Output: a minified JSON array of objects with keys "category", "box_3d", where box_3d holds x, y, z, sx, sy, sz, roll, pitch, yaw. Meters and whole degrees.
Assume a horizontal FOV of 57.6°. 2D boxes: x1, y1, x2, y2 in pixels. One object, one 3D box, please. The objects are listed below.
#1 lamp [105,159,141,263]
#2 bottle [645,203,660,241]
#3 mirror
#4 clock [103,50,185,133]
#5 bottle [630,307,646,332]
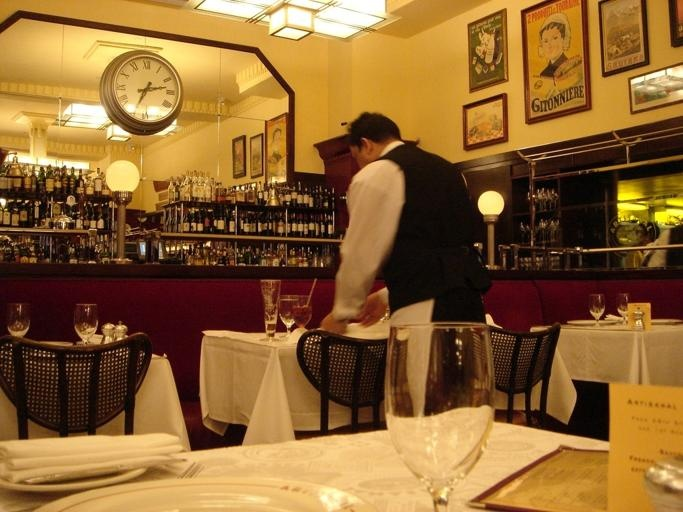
[{"category":"lamp","box_3d":[-1.619,-0.354,4.652,0.233,0.774,0.794,1,1,-20]},{"category":"bottle","box_3d":[3.315,-0.357,6.656,0.117,0.376,0.133,-23,32,-35]},{"category":"mirror","box_3d":[-2.226,-1.249,6.857,2.627,1.729,0.062,7,-8,-37]},{"category":"clock","box_3d":[-2.242,-1.928,7.182,0.878,0.221,1.124,1,-42,-16]},{"category":"bottle","box_3d":[1.470,0.318,3.098,0.077,0.140,0.075,-1,-1,0]}]
